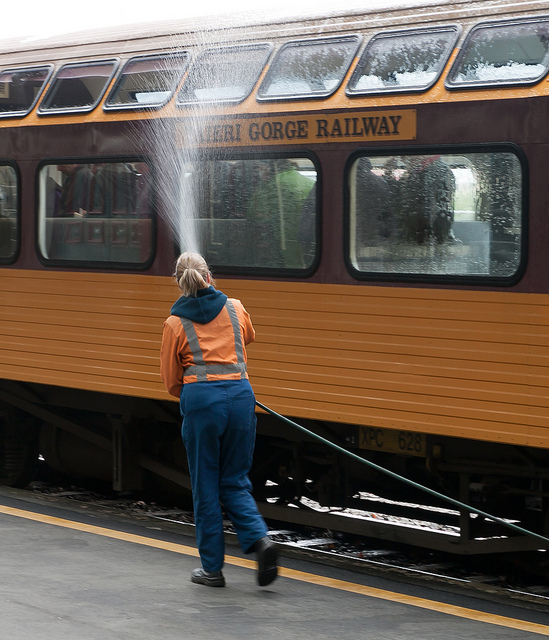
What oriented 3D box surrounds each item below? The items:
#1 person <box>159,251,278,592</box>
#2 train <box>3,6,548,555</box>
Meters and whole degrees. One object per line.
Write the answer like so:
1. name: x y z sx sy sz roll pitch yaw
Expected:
1. person: -0.278 0.531 3.700 0.693 1.742 0.373 6 -7 -7
2. train: 0.106 -0.276 4.728 5.249 2.219 1.877 3 6 44
